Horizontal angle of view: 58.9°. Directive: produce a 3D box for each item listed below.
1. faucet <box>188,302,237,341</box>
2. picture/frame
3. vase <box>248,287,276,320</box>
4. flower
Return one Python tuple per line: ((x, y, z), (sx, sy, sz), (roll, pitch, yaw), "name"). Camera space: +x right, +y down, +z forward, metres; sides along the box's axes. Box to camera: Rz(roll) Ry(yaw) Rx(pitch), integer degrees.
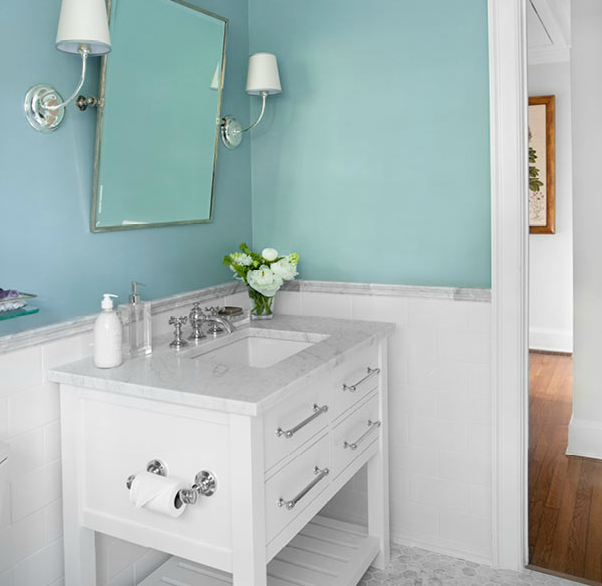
((-0.326, 0.099, 1.864), (0.207, 0.161, 0.092), (-3, 3, -20), "faucet")
((1.716, -0.905, 3.775), (0.227, 0.963, 0.252), (2, 10, 20), "picture/frame")
((-0.170, 0.037, 2.169), (0.116, 0.197, 0.107), (-1, 1, -35), "vase")
((-0.161, -0.024, 2.182), (0.267, 0.311, 0.273), (2, -8, -29), "flower")
